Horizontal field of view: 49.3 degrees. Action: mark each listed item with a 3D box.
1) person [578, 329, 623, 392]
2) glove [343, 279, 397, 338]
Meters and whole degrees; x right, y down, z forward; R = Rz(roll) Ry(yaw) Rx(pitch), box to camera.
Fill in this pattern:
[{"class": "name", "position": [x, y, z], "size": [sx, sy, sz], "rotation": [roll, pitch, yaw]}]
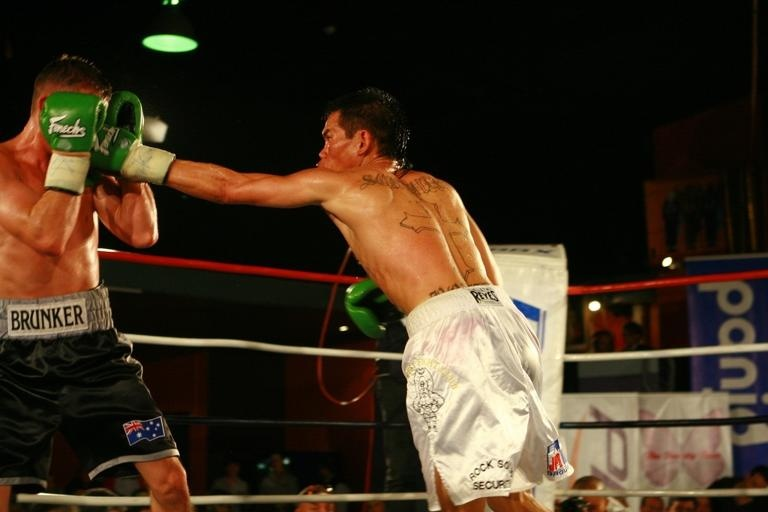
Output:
[{"class": "person", "position": [1.731, 0.836, 6.817], "size": [0.323, 0.503, 1.170], "rotation": [-3, -9, 13]}, {"class": "glove", "position": [-0.120, 0.310, 4.608], "size": [0.252, 0.325, 0.122], "rotation": [-37, 3, -36]}]
